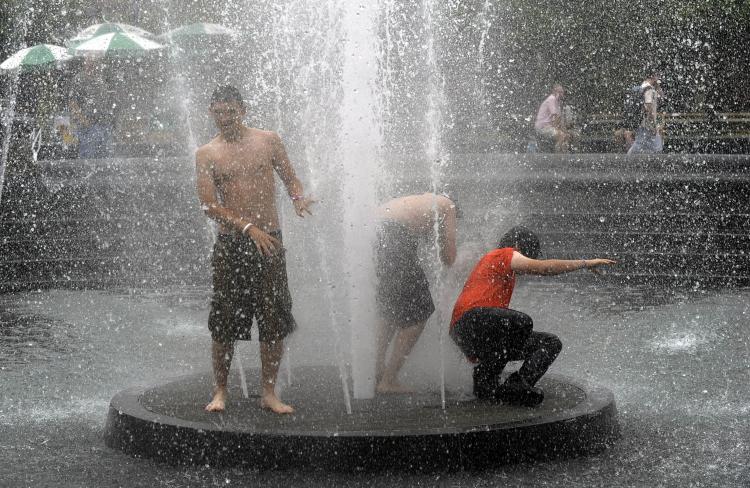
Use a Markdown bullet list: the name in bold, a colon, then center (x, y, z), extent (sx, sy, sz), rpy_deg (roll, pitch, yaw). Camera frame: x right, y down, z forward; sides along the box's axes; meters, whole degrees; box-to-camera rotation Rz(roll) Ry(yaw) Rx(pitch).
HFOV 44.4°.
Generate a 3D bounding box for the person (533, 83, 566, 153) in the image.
- **person**: center (3.280, -2.301, 16.984), extent (0.569, 1.205, 1.829), rpy_deg (1, 11, 11)

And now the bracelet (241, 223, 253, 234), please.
- **bracelet**: center (-1.124, -0.136, 8.038), extent (0.020, 0.082, 0.082), rpy_deg (38, 3, -17)

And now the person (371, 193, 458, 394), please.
- **person**: center (0.369, 0.427, 8.454), extent (0.739, 1.734, 0.575), rpy_deg (0, 11, 4)

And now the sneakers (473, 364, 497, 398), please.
- **sneakers**: center (0.990, 1.216, 8.199), extent (0.232, 0.303, 0.173), rpy_deg (3, -20, -6)

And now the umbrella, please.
- **umbrella**: center (-4.941, -3.666, 17.184), extent (4.013, 0.892, 1.305), rpy_deg (-4, 11, -15)

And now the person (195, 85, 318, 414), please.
- **person**: center (-1.076, 0.020, 8.032), extent (0.925, 2.735, 0.871), rpy_deg (-2, 11, -5)
